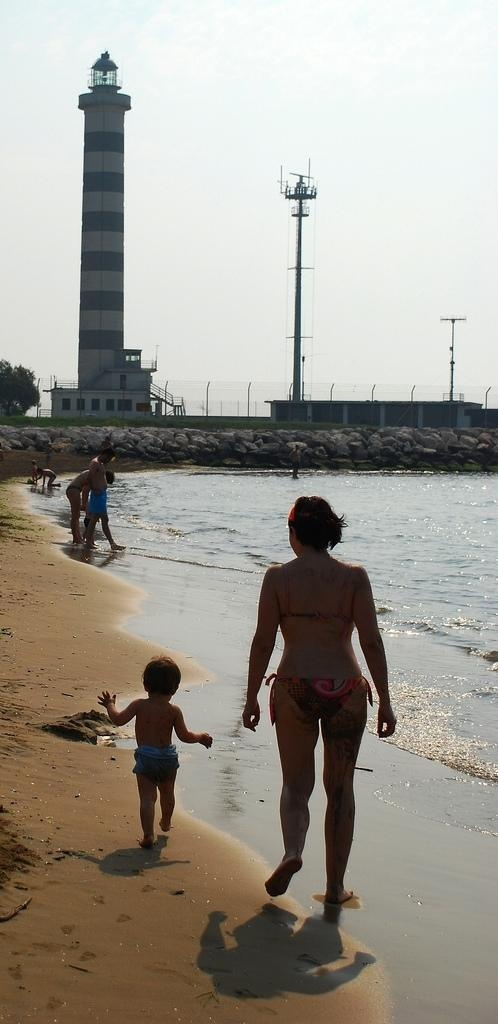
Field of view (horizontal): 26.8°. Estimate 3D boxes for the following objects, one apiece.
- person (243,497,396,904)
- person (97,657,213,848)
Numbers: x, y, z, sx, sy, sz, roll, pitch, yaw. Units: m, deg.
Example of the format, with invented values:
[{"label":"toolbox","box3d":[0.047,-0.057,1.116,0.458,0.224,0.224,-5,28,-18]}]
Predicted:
[{"label":"person","box3d":[0.290,0.782,4.147,0.605,1.422,0.665,5,2,-4]},{"label":"person","box3d":[-0.488,1.265,5.395,0.636,1.142,0.456,1,-6,-6]}]
